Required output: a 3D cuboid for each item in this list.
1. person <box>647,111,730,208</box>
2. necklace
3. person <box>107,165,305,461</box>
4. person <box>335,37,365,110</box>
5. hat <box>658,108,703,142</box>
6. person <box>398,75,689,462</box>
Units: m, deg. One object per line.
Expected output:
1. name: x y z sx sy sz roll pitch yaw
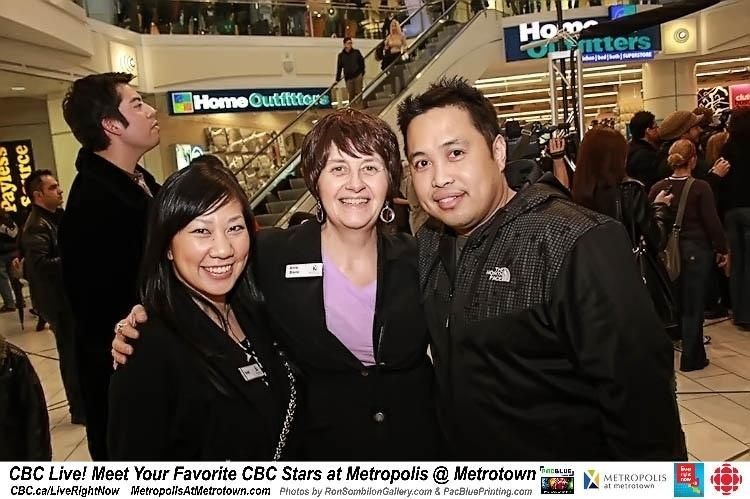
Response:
1. person: 3.954 -1.015 6.114 0.647 1.372 0.755 -13 6 10
2. necklace: -0.601 0.400 2.136 0.291 0.411 0.126 12 -41 -42
3. person: -0.751 0.290 2.038 0.759 1.269 0.438 -10 10 -31
4. person: -0.542 -4.013 10.899 0.642 1.617 1.631 -4 9 0
5. hat: 3.825 -1.524 6.065 0.527 0.199 0.400 -37 29 -5
6. person: 0.611 0.122 2.025 1.114 1.728 0.483 4 12 41
